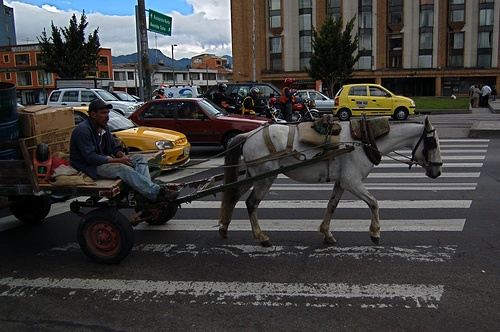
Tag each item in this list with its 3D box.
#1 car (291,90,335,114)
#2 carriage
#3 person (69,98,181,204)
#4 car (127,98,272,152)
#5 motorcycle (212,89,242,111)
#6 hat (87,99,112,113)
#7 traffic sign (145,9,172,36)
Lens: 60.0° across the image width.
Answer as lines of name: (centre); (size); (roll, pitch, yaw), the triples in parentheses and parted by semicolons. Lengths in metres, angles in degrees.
car: (4.242, -4.245, 29.144); (2.702, 1.343, 1.662); (-5, 14, -2)
carriage: (-0.633, 0.176, 8.310); (8.566, 2.959, 3.257); (1, 13, -1)
person: (-2.202, -0.271, 7.308); (1.575, 1.629, 0.823); (5, 16, 24)
car: (-1.885, -1.704, 16.266); (4.665, 1.763, 2.139); (-1, 12, 6)
motorcycle: (-1.076, -3.480, 22.753); (1.992, 1.056, 1.232); (-5, 22, -8)
hat: (-2.529, -1.026, 7.382); (0.318, 0.169, 0.221); (-3, 9, -1)
traffic sign: (-4.035, -6.445, 19.610); (0.989, 1.077, 1.479); (-4, 15, -11)
